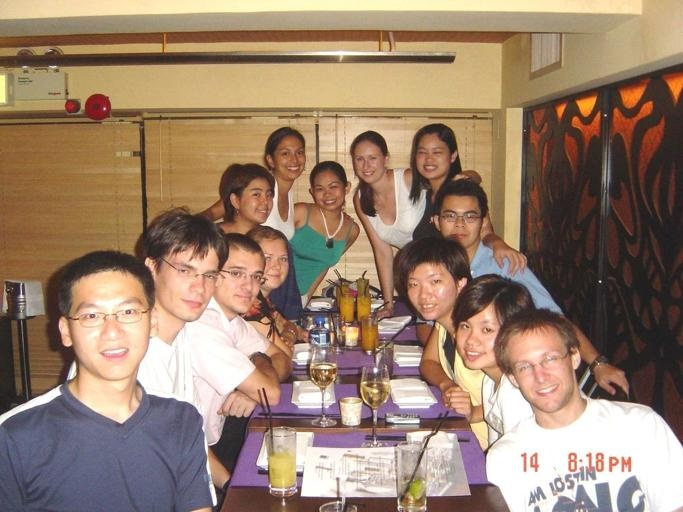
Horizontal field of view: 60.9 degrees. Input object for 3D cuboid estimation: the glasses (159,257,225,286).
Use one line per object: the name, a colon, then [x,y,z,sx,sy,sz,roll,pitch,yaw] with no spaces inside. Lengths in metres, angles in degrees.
glasses: [-0.600,0.065,2.319,0.220,0.108,0.059,-1,13,-17]

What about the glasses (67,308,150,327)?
glasses: [-0.734,0.193,1.844,0.229,0.054,0.040,-1,13,-16]

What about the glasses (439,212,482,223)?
glasses: [0.691,-0.227,3.387,0.221,0.072,0.065,4,12,7]

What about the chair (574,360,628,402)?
chair: [1.232,0.613,2.755,0.185,0.203,0.340,7,13,20]

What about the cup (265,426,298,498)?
cup: [-0.200,0.677,1.946,0.110,0.174,0.184,1,12,-6]

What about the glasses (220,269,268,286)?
glasses: [-0.463,0.105,2.751,0.212,0.088,0.056,-6,15,-36]

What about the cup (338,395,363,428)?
cup: [0.038,0.613,2.277,0.089,0.079,0.102,1,-2,12]

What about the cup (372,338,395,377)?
cup: [0.216,0.511,2.938,0.129,0.215,0.133,1,7,0]
